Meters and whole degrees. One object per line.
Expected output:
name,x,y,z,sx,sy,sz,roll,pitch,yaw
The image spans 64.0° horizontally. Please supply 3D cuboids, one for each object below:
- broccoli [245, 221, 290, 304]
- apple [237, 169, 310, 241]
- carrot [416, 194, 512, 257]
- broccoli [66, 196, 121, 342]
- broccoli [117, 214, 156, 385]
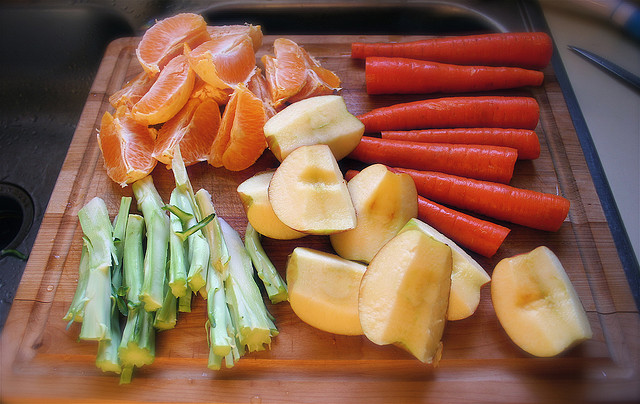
broccoli,-0.400,0.412,3.489,0.182,0.162,0.831,1,27,-25
apple,-0.380,0.037,3.394,0.409,0.147,0.471,-14,93,2
carrot,0.975,0.169,3.416,0.517,0.158,0.143,31,28,12
broccoli,-1.438,0.464,3.243,0.365,0.263,1.018,4,45,-15
broccoli,-1.152,0.596,3.251,0.225,0.156,0.970,-2,62,-11
